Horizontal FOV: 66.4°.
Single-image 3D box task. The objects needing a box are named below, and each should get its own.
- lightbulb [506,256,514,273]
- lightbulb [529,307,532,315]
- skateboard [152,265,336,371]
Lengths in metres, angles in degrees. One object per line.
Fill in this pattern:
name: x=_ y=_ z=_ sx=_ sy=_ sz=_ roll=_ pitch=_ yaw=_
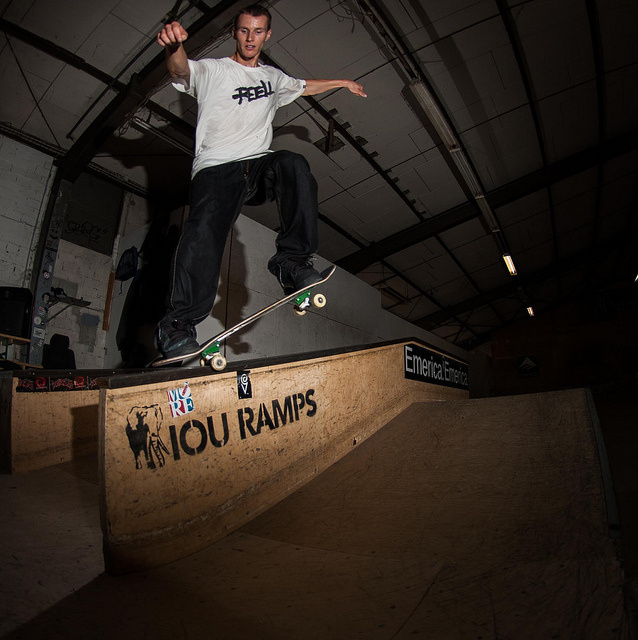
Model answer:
lightbulb: x=5.025 y=-1.468 z=12.696 sx=0.093 sy=0.132 sz=0.533 roll=-31 pitch=-62 yaw=12
lightbulb: x=7.416 y=-0.334 z=16.972 sx=0.075 sy=0.069 sz=0.303 roll=-16 pitch=-49 yaw=4
skateboard: x=-0.354 y=0.025 z=2.709 sx=1.102 sy=0.177 sz=0.272 roll=-29 pitch=9 yaw=3
